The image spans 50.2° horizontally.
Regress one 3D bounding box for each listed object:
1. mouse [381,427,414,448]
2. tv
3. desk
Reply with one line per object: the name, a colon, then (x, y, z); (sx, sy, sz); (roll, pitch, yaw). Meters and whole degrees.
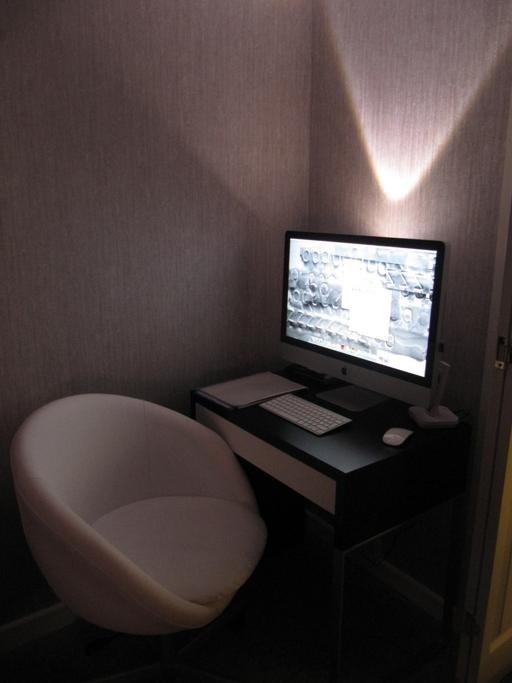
mouse: (0.359, 0.248, 1.401); (0.063, 0.027, 0.094); (8, 15, 32)
tv: (0.330, -0.061, 1.615); (0.116, 0.372, 0.465); (-15, 24, -30)
desk: (0.209, 0.287, 1.518); (0.488, 0.481, 0.872); (-12, 22, -28)
